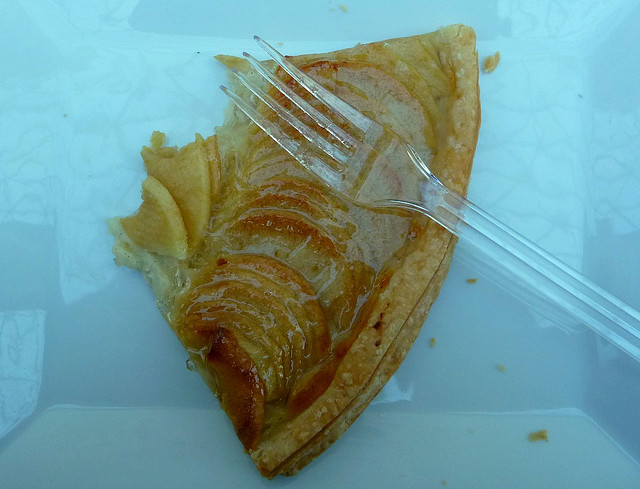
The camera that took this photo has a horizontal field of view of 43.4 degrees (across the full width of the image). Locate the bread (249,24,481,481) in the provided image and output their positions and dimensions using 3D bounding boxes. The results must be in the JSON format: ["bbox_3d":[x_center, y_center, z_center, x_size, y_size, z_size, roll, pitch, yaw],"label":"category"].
[{"bbox_3d":[0.117,0.031,1.485,0.211,0.896,0.456,19,14,41],"label":"bread"}]
